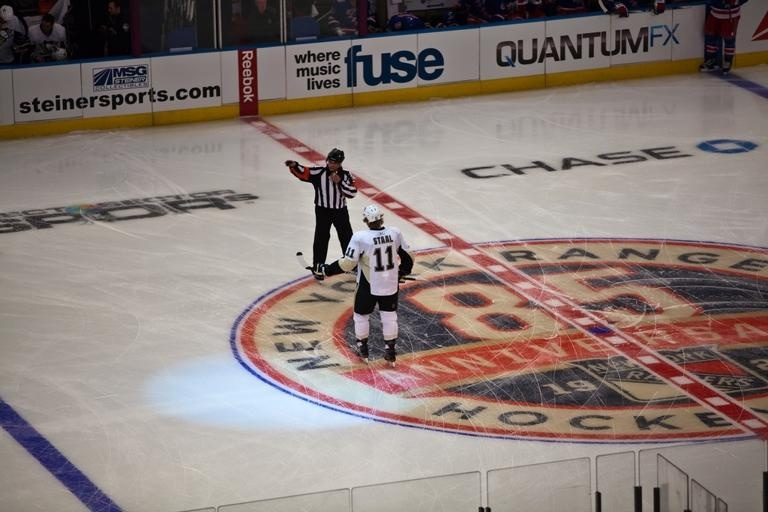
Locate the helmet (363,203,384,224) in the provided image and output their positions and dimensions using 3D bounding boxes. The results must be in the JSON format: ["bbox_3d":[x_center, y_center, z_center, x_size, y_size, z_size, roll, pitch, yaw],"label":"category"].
[{"bbox_3d":[-0.125,-0.453,8.308,0.184,0.166,0.298,-1,14,3],"label":"helmet"}]

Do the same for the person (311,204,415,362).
[{"bbox_3d":[-0.110,0.301,8.299,0.840,1.640,0.492,-3,17,1],"label":"person"}]

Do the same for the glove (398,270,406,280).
[{"bbox_3d":[0.188,0.212,8.389,0.107,0.079,0.024,-6,3,-30],"label":"glove"}]
